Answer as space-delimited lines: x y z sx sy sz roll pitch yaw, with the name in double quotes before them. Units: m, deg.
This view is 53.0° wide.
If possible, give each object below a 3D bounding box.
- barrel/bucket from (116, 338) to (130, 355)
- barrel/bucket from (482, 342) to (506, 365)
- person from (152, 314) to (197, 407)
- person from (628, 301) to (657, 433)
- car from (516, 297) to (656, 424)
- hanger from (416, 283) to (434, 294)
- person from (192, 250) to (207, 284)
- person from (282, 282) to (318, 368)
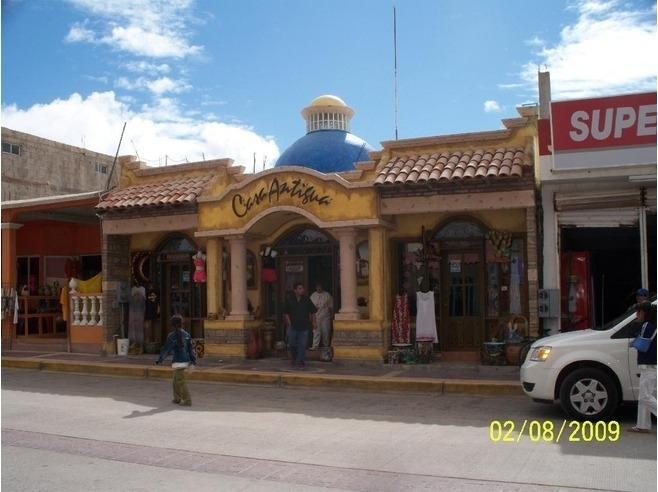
"barrel/bucket" -6.397 3.115 20.401 0.416 0.467 0.423 0 -3 0
"barrel/bucket" 4.223 2.678 16.917 0.578 0.589 0.493 1 1 36
"person" -3.139 2.315 13.522 0.723 1.208 0.771 -1 0 -14
"person" 5.104 1.956 10.664 0.371 2.041 0.511 0 1 24
"car" 4.556 2.174 11.850 2.669 1.450 1.364 1 -6 13
"hanger" 2.679 1.140 18.240 0.472 0.233 0.914 -1 0 5
"person" -3.998 0.638 20.243 0.409 1.054 1.156 -1 0 -14
"person" -0.779 2.052 17.296 0.750 2.088 0.651 -1 1 -5
